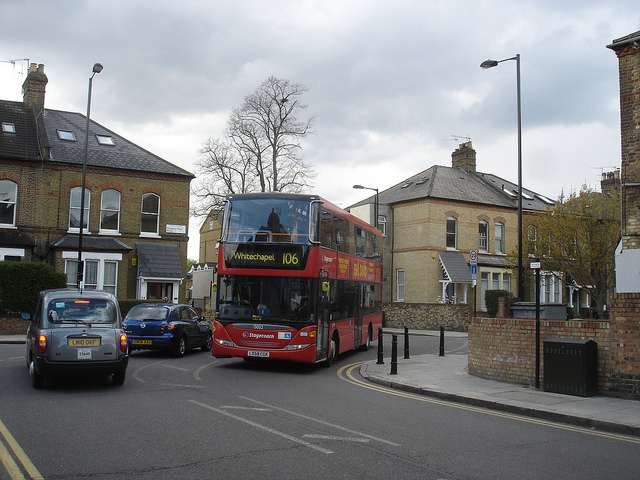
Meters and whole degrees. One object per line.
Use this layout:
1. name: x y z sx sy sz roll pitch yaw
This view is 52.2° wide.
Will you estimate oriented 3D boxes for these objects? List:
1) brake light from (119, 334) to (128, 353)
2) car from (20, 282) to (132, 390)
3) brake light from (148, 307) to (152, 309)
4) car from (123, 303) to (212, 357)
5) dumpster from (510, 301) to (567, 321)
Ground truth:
1. brake light: -4.590 2.404 15.194 0.129 0.417 0.261 -2 -6 17
2. car: -5.774 2.299 15.470 2.014 2.292 1.812 3 -7 -27
3. brake light: -5.540 2.200 21.127 0.127 0.041 0.054 1 -6 -7
4. car: -4.934 2.913 21.901 1.465 1.056 2.926 -2 -3 11
5. dumpster: 6.031 1.949 18.062 1.406 0.487 1.163 -3 -7 20
